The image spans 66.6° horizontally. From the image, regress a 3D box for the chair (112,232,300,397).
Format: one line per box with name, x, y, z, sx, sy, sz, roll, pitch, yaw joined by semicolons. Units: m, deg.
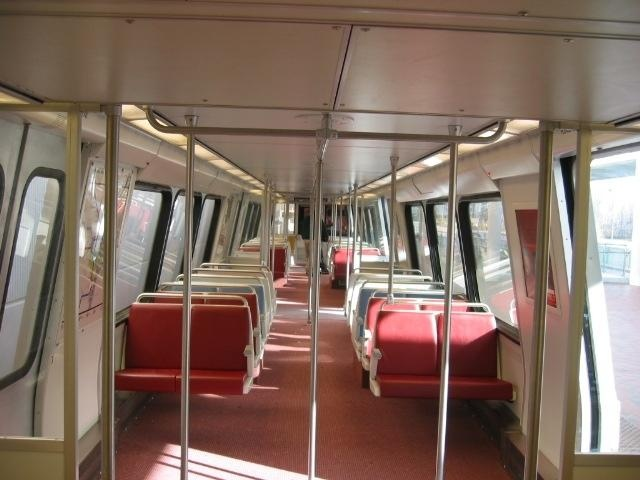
chair;-1.276;0.406;5.182;1.907;1.461;1.094;1;-3;1
